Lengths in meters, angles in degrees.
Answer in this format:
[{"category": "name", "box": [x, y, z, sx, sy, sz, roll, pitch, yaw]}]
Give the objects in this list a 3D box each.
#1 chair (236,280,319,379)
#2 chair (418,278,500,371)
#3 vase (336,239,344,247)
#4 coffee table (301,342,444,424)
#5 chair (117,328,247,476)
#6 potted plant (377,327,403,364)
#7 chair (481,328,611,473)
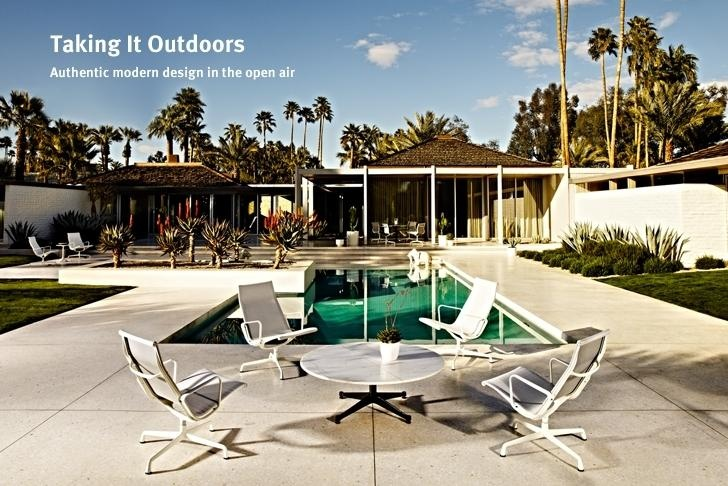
[{"category": "chair", "box": [-1.546, 1.559, 9.695, 1.262, 1.454, 1.328, 0, 2, 2]}, {"category": "chair", "box": [1.681, 1.462, 10.038, 1.219, 1.451, 1.017, 0, 5, -16]}, {"category": "vase", "box": [-1.187, -0.019, 25.428, 0.326, 0.241, 0.307, -3, -2, 35]}, {"category": "coffee table", "box": [0.103, 2.085, 8.150, 2.009, 1.021, 1.263, -2, 3, 0]}, {"category": "chair", "box": [-2.495, 2.070, 7.581, 1.243, 1.744, 1.507, 5, 7, 34]}, {"category": "potted plant", "box": [0.392, 1.535, 8.392, 0.434, 0.501, 0.450, -4, 5, -25]}, {"category": "chair", "box": [2.476, 2.066, 7.594, 1.528, 1.752, 1.321, 2, 5, 29]}]
